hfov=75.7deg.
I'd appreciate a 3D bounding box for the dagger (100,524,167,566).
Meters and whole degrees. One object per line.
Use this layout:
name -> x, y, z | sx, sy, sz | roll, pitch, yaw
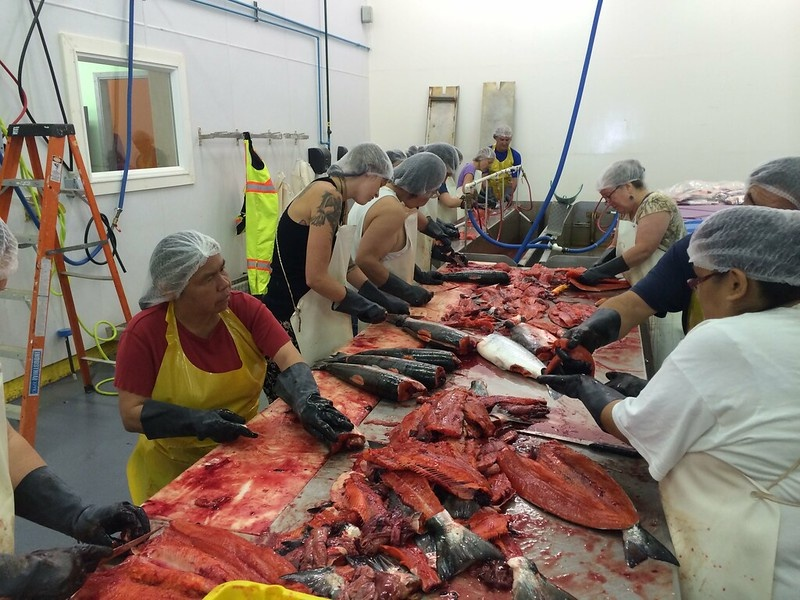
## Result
dagger -> -0.984, 0.884, 1.948 | 0.253, 0.087, 0.044 | -29, 54, -23
